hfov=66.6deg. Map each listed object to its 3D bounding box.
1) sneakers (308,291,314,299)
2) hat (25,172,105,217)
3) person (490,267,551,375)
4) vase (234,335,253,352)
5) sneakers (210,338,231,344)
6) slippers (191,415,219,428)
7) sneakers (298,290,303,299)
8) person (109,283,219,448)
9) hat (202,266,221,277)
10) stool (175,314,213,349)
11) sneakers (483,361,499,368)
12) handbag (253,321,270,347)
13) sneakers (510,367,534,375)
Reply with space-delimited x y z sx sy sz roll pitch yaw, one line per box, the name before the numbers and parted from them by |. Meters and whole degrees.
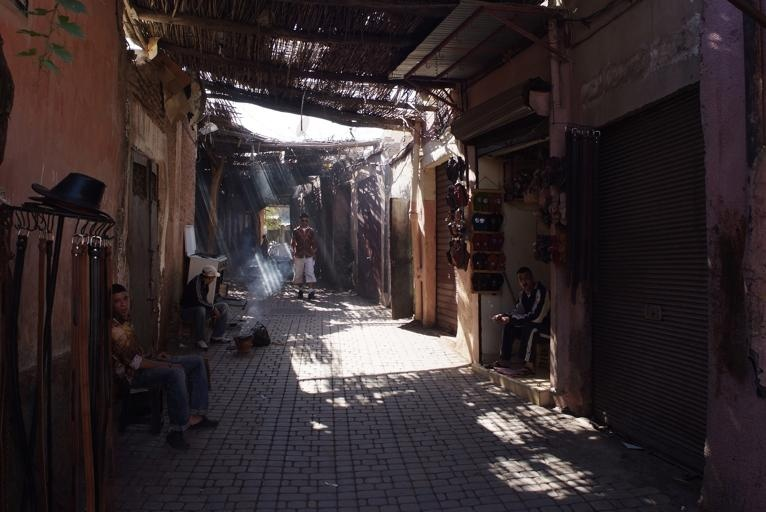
sneakers | -1.882 1.051 15.546 0.194 0.214 0.149 2 -3 -13
hat | -2.194 -0.442 4.161 0.373 0.161 0.337 21 -1 39
person | 1.940 0.921 8.435 0.725 1.538 0.914 -1 8 -13
vase | -2.237 1.394 9.335 0.254 0.251 0.266 -3 -4 27
sneakers | -2.771 1.447 10.007 0.295 0.142 0.117 -1 2 -6
slippers | -1.957 1.847 6.469 0.303 0.150 0.116 0 2 -13
sneakers | -2.208 1.037 15.645 0.165 0.311 0.204 1 -4 -12
person | -2.284 1.093 6.148 0.964 1.738 0.703 -2 8 -18
hat | -2.881 0.272 9.735 0.221 0.131 0.168 4 11 -14
stool | -3.245 1.374 9.992 0.573 0.616 0.617 0 2 7
sneakers | 1.624 1.619 8.675 0.244 0.117 0.087 0 -3 7
handbag | -2.069 1.343 9.937 0.175 0.347 0.321 -13 -4 12
sneakers | 1.975 1.591 8.135 0.226 0.102 0.126 3 -4 -4
